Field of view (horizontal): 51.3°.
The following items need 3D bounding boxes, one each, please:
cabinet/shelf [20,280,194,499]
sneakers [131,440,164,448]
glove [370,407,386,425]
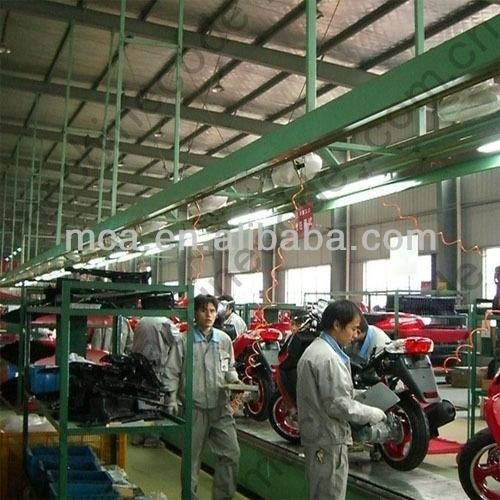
[{"bbox_3d":[-1.024,1.010,3.702,0.754,1.589,2.128,0,-1,-26],"label":"cabinet/shelf"},{"bbox_3d":[-1.238,2.352,6.357,0.205,0.061,0.154,4,-8,-9],"label":"sneakers"},{"bbox_3d":[0.711,0.904,2.863,0.069,0.098,0.215,-2,-6,16],"label":"glove"}]
